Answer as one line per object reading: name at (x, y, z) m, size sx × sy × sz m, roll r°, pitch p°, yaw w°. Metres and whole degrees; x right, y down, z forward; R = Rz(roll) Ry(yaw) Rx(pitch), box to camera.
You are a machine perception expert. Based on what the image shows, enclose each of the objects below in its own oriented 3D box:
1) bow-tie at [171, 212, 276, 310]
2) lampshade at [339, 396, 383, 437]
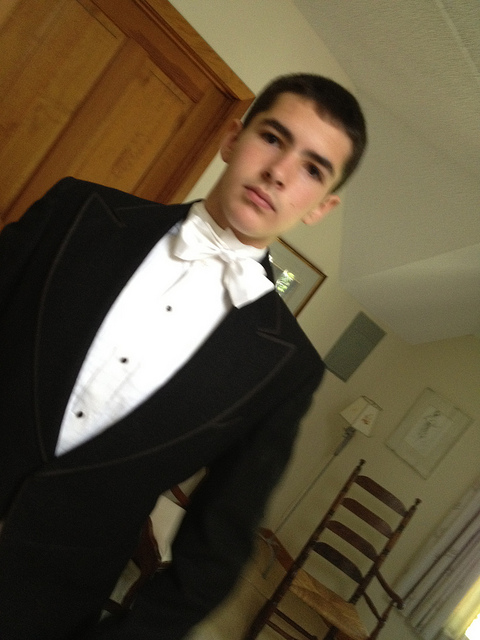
bow-tie at (-0.029, -0.095, 0.958) m, size 0.199 × 0.095 × 0.085 m, roll 34°, pitch 4°, yaw -11°
lampshade at (0.868, 0.650, 3.838) m, size 0.297 × 0.208 × 0.296 m, roll 14°, pitch 14°, yaw -48°
